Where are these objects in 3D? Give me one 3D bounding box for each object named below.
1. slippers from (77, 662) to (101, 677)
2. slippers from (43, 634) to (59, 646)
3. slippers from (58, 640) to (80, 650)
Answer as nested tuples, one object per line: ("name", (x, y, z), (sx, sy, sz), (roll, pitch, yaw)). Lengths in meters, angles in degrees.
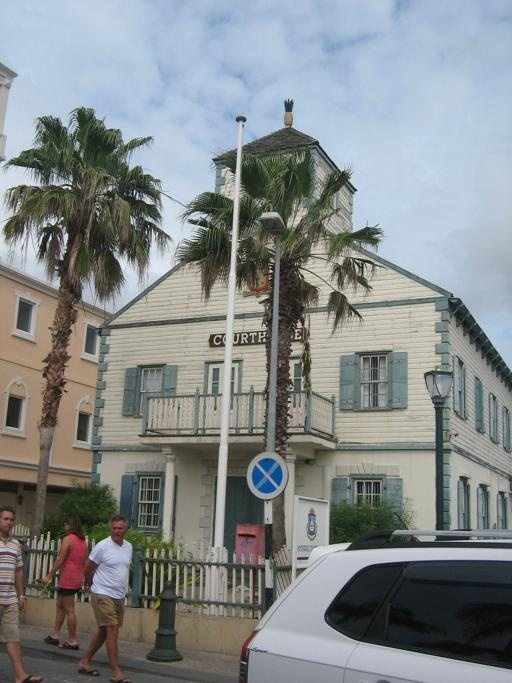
("slippers", (-1.913, 3.758, 7.513), (0.222, 0.071, 0.104), (-1, -11, 25))
("slippers", (-2.865, 4.213, 9.243), (0.223, 0.088, 0.088), (-5, -23, 38))
("slippers", (-2.561, 4.147, 8.982), (0.291, 0.115, 0.108), (-4, -21, 25))
